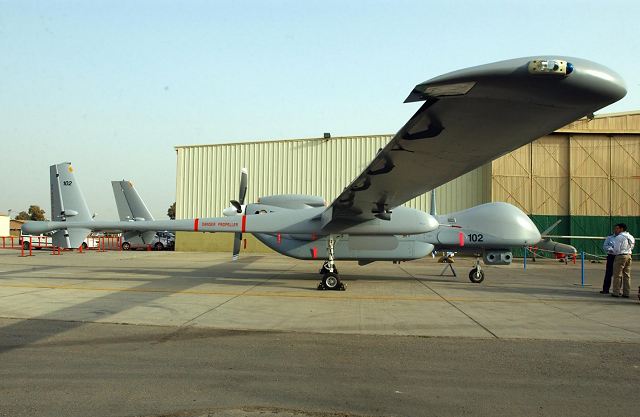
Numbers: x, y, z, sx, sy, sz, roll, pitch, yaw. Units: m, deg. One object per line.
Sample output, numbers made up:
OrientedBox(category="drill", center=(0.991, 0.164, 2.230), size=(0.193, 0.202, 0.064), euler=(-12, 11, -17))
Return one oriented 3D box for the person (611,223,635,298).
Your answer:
OrientedBox(category="person", center=(8.266, 1.390, 16.291), size=(0.487, 1.994, 1.527), euler=(2, 4, 27))
